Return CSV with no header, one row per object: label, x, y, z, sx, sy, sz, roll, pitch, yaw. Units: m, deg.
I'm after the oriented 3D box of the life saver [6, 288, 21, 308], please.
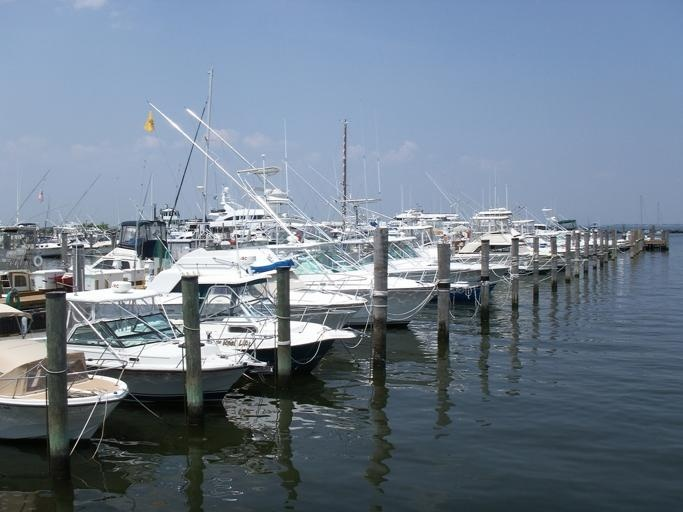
life saver,-8.488,1.121,24.558,0.377,0.414,1.133,-1,3,-19
